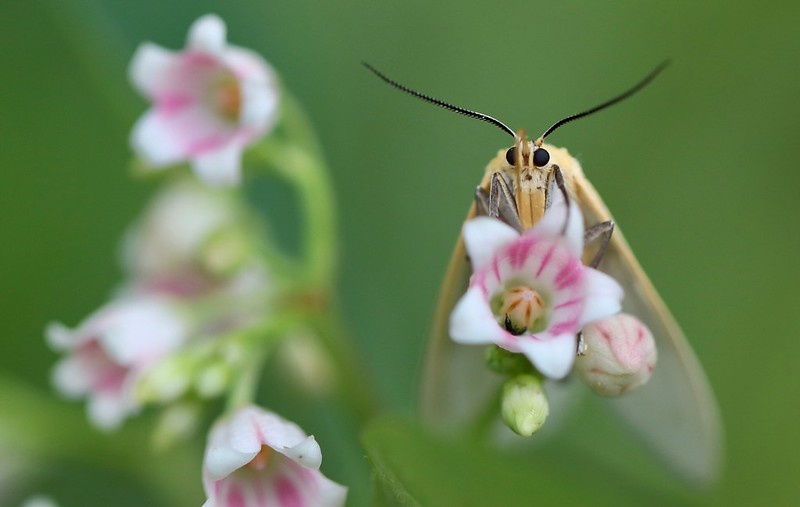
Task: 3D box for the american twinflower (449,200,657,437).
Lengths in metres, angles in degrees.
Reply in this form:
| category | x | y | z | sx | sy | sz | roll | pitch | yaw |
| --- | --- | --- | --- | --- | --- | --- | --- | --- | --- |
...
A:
| category | x | y | z | sx | sy | sz | roll | pitch | yaw |
| --- | --- | --- | --- | --- | --- | --- | --- | --- | --- |
| american twinflower | 0.419 | 0.123 | 2.437 | 0.486 | 0.402 | 0.427 | 8 | 36 | 7 |

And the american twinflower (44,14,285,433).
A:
| category | x | y | z | sx | sy | sz | roll | pitch | yaw |
| --- | --- | --- | --- | --- | --- | --- | --- | --- | --- |
| american twinflower | -0.815 | -0.103 | 2.885 | 0.687 | 1.162 | 0.941 | 12 | 37 | 15 |

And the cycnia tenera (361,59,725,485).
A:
| category | x | y | z | sx | sy | sz | roll | pitch | yaw |
| --- | --- | --- | --- | --- | --- | --- | --- | --- | --- |
| cycnia tenera | 0.603 | -0.131 | 2.986 | 1.083 | 0.626 | 1.631 | -2 | 63 | 4 |
